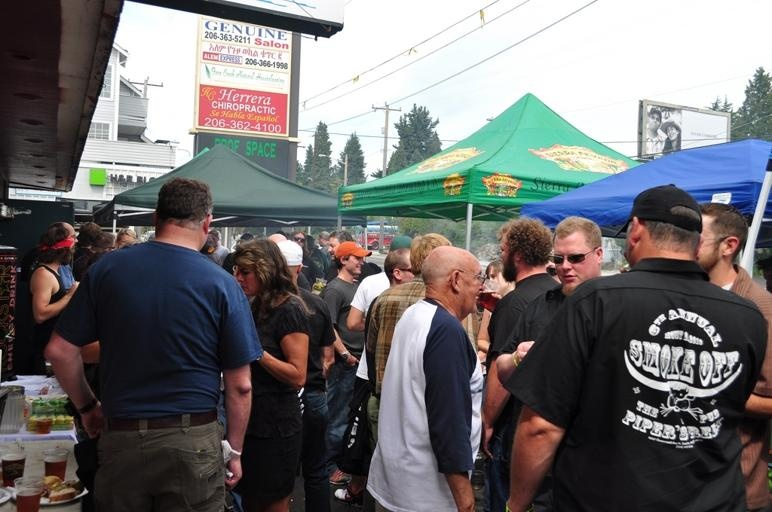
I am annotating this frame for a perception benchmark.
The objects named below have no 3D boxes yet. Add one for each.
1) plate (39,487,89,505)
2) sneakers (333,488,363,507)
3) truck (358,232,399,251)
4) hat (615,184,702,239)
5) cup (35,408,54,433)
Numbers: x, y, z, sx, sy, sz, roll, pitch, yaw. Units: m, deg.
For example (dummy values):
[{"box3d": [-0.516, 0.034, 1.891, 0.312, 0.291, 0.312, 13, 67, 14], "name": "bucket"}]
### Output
[{"box3d": [-2.060, 1.522, 4.542, 0.228, 0.041, 0.166, -7, -5, 19], "name": "plate"}, {"box3d": [-0.345, 2.307, 6.892, 0.331, 0.133, 0.125, 2, -2, 44], "name": "sneakers"}, {"box3d": [-1.170, -1.111, 56.452, 3.548, 1.644, 2.023, -2, 2, 2], "name": "truck"}, {"box3d": [1.643, -0.259, 4.230, 0.460, 0.311, 0.600, 12, 4, 14], "name": "hat"}, {"box3d": [-2.533, 1.244, 5.307, 0.131, 0.097, 0.121, 0, -7, 0], "name": "cup"}]
